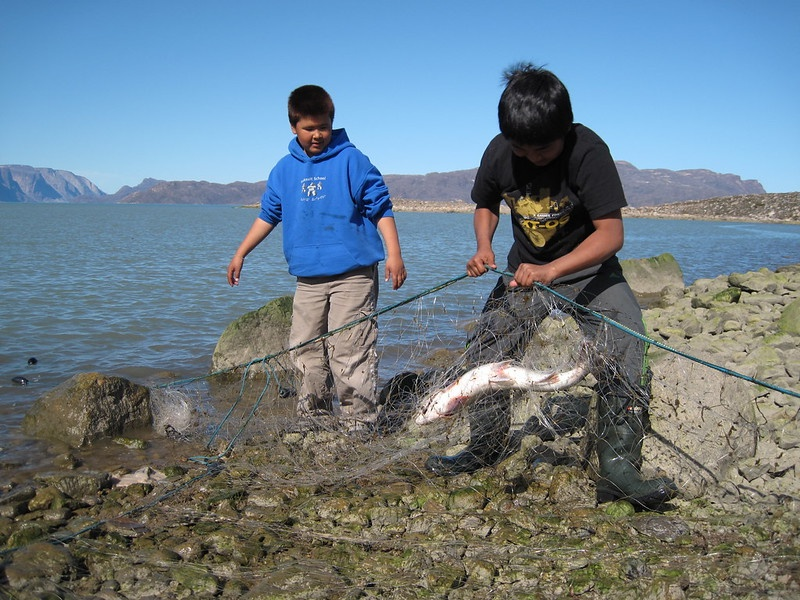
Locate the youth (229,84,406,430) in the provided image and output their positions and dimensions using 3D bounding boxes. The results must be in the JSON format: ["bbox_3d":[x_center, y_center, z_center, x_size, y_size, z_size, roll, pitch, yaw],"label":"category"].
[{"bbox_3d":[-0.617,-0.388,6.012,1.292,3.078,1.293,0,3,9],"label":"youth"}]

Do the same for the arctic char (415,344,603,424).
[{"bbox_3d":[0.693,0.603,4.968,1.437,0.524,0.900,-5,4,-26],"label":"arctic char"}]

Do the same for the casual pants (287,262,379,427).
[{"bbox_3d":[-0.441,0.375,6.010,0.857,1.277,0.985,14,12,28],"label":"casual pants"}]
